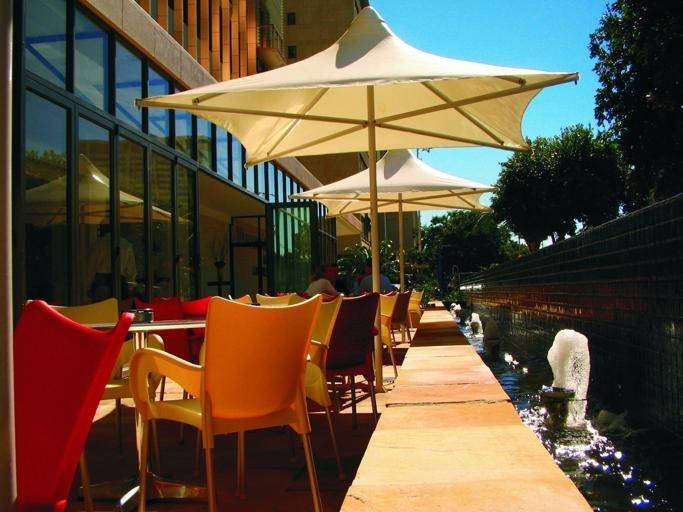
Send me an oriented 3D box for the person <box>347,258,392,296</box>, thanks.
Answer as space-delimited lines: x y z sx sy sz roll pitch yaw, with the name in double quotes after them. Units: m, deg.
0.674 0.429 14.225 0.956 1.447 0.686 5 -15 -13 "person"
